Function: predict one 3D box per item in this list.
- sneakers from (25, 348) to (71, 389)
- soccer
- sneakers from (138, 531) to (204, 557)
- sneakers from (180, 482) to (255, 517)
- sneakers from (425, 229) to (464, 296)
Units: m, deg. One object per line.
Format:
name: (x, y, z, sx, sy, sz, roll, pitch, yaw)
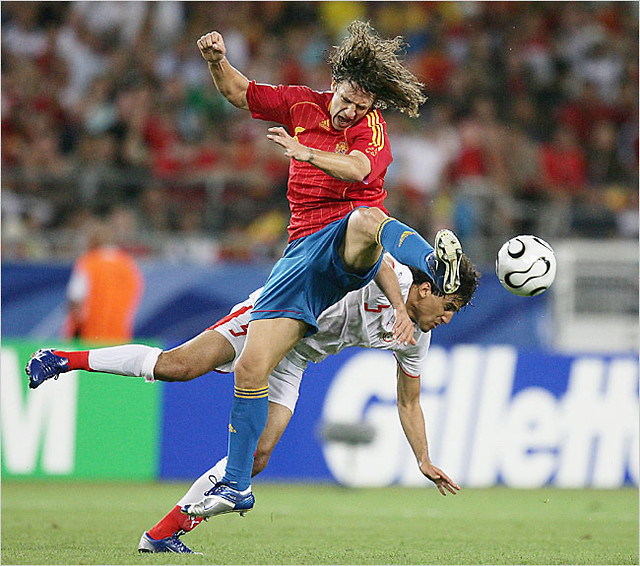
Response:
sneakers: (-1.891, 0.586, 6.898, 0.286, 0.215, 0.168, 5, -3, -16)
soccer: (1.443, -0.139, 6.986, 0.522, 0.449, 0.531, -1, 7, 9)
sneakers: (-0.999, 1.794, 6.891, 0.484, 0.206, 0.164, 5, -12, -2)
sneakers: (-0.688, 1.454, 6.692, 0.459, 0.285, 0.276, 5, -3, -12)
sneakers: (0.752, -0.144, 5.999, 0.156, 0.425, 0.177, -3, 7, -10)
